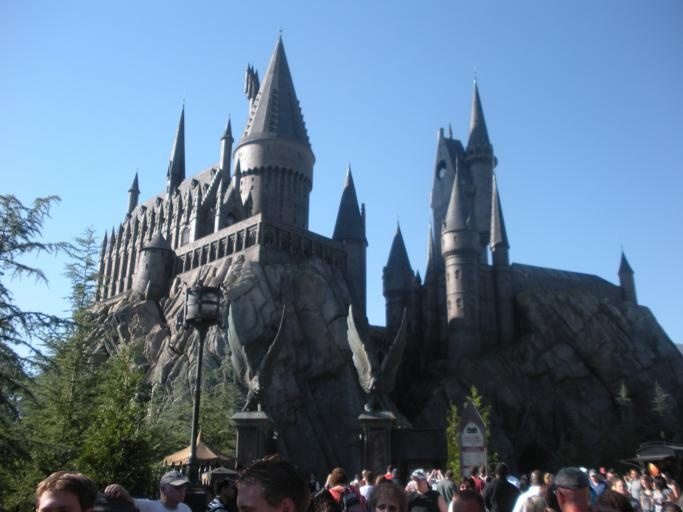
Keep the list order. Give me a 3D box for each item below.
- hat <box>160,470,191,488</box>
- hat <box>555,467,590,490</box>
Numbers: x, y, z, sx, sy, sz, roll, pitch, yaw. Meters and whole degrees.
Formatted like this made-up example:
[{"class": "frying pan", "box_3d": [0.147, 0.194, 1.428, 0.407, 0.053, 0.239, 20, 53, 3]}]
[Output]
[{"class": "hat", "box_3d": [-3.816, 5.067, 18.897, 0.572, 0.381, 0.451, -13, -19, -2]}, {"class": "hat", "box_3d": [4.709, 4.673, 17.168, 0.426, 0.315, 0.516, 5, -21, -28]}]
